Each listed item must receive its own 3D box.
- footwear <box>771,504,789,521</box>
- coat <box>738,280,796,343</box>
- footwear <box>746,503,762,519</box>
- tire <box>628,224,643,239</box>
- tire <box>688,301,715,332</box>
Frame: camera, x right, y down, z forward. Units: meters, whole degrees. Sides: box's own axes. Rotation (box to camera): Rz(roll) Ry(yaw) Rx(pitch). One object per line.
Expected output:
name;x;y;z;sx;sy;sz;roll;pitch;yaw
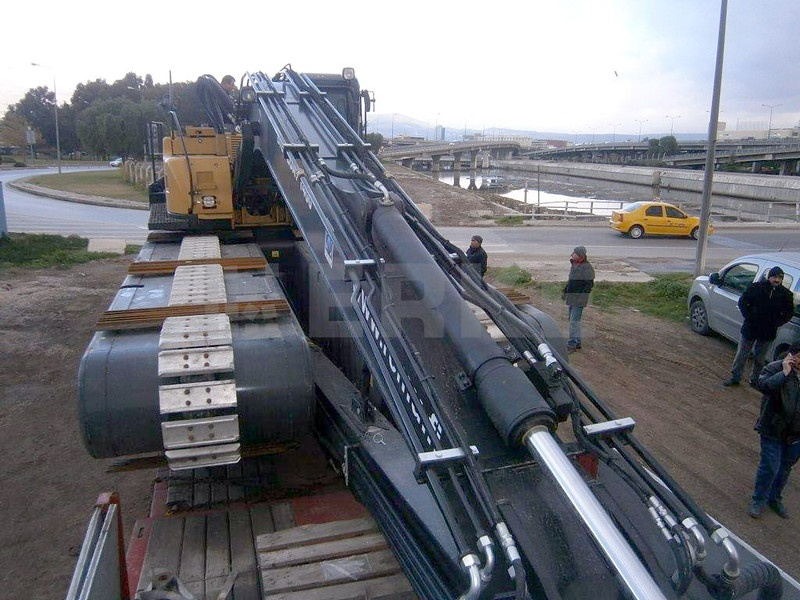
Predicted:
footwear;4.417;2.464;6.301;0.077;0.091;0.201;-17;6;-2
coat;5.604;0.193;8.274;0.837;1.086;0.603;1;13;9
footwear;4.105;2.442;6.309;0.096;0.093;0.217;-4;-5;19
tire;10.229;-3.003;23.643;0.550;0.582;0.267;3;10;-3
tire;6.215;0.340;11.190;0.196;0.634;0.615;0;2;-7
